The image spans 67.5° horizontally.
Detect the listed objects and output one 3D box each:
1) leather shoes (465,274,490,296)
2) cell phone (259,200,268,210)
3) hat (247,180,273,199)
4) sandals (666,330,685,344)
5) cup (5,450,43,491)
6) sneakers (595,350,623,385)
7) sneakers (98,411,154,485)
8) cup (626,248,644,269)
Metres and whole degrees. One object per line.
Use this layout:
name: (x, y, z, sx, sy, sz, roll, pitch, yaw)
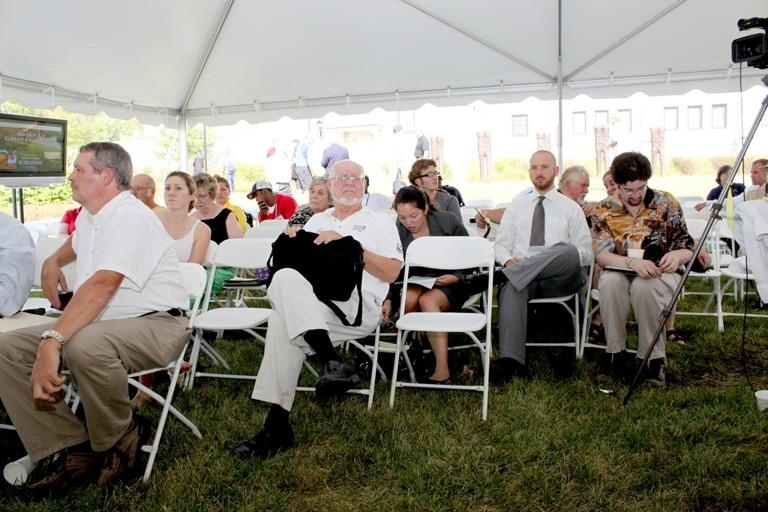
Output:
leather shoes: (0.872, 0.266, 5.351, 0.211, 0.193, 0.175, 1, -1, 18)
cell phone: (-1.907, -0.806, 9.071, 0.089, 0.124, 0.110, -1, 15, 1)
hat: (-1.939, -1.046, 8.928, 0.336, 0.193, 0.236, -15, 2, -32)
sandals: (3.041, 0.826, 5.987, 0.127, 0.152, 0.364, 0, 1, 35)
cup: (-2.505, 1.473, 3.939, 0.197, 0.207, 0.136, -1, 8, -17)
sneakers: (2.037, 1.021, 5.200, 0.241, 0.334, 0.186, 7, 9, 37)
sneakers: (-1.815, 1.329, 4.094, 0.177, 0.551, 0.230, 3, -16, 14)
cup: (2.262, 0.024, 5.215, 0.148, 0.190, 0.182, 2, -8, -14)
